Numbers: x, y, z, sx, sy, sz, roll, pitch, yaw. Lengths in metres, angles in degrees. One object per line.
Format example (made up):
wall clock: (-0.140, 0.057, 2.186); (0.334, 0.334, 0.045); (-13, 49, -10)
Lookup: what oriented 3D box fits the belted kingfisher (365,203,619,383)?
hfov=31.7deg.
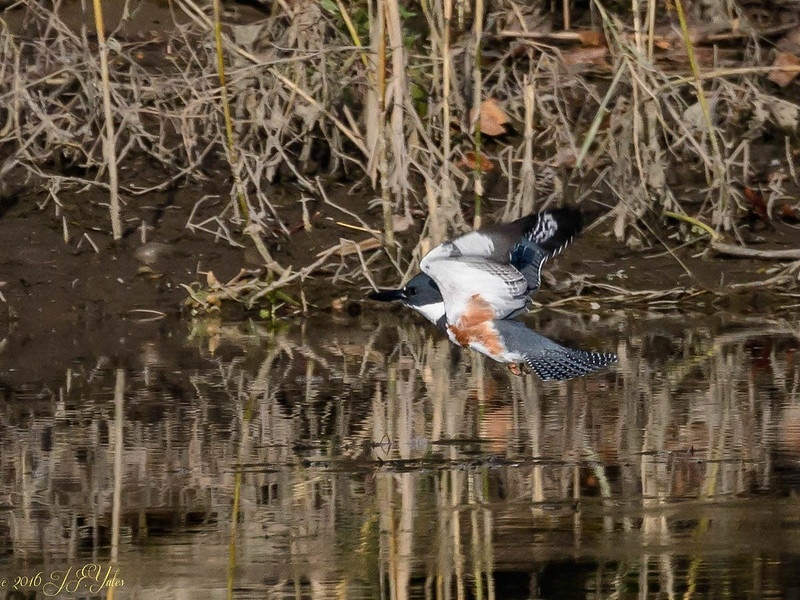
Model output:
belted kingfisher: (0.580, 0.077, 5.771); (0.900, 0.562, 0.942); (27, -25, -34)
